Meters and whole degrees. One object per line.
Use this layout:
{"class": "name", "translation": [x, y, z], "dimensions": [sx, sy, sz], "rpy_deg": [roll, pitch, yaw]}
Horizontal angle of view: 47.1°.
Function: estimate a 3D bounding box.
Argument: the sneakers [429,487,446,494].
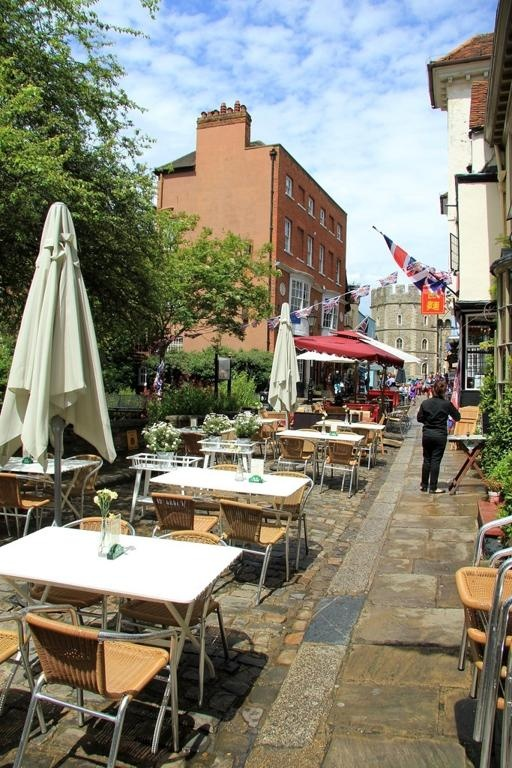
{"class": "sneakers", "translation": [2.840, 1.660, 9.132], "dimensions": [0.304, 0.117, 0.103], "rpy_deg": [-2, 1, 14]}
